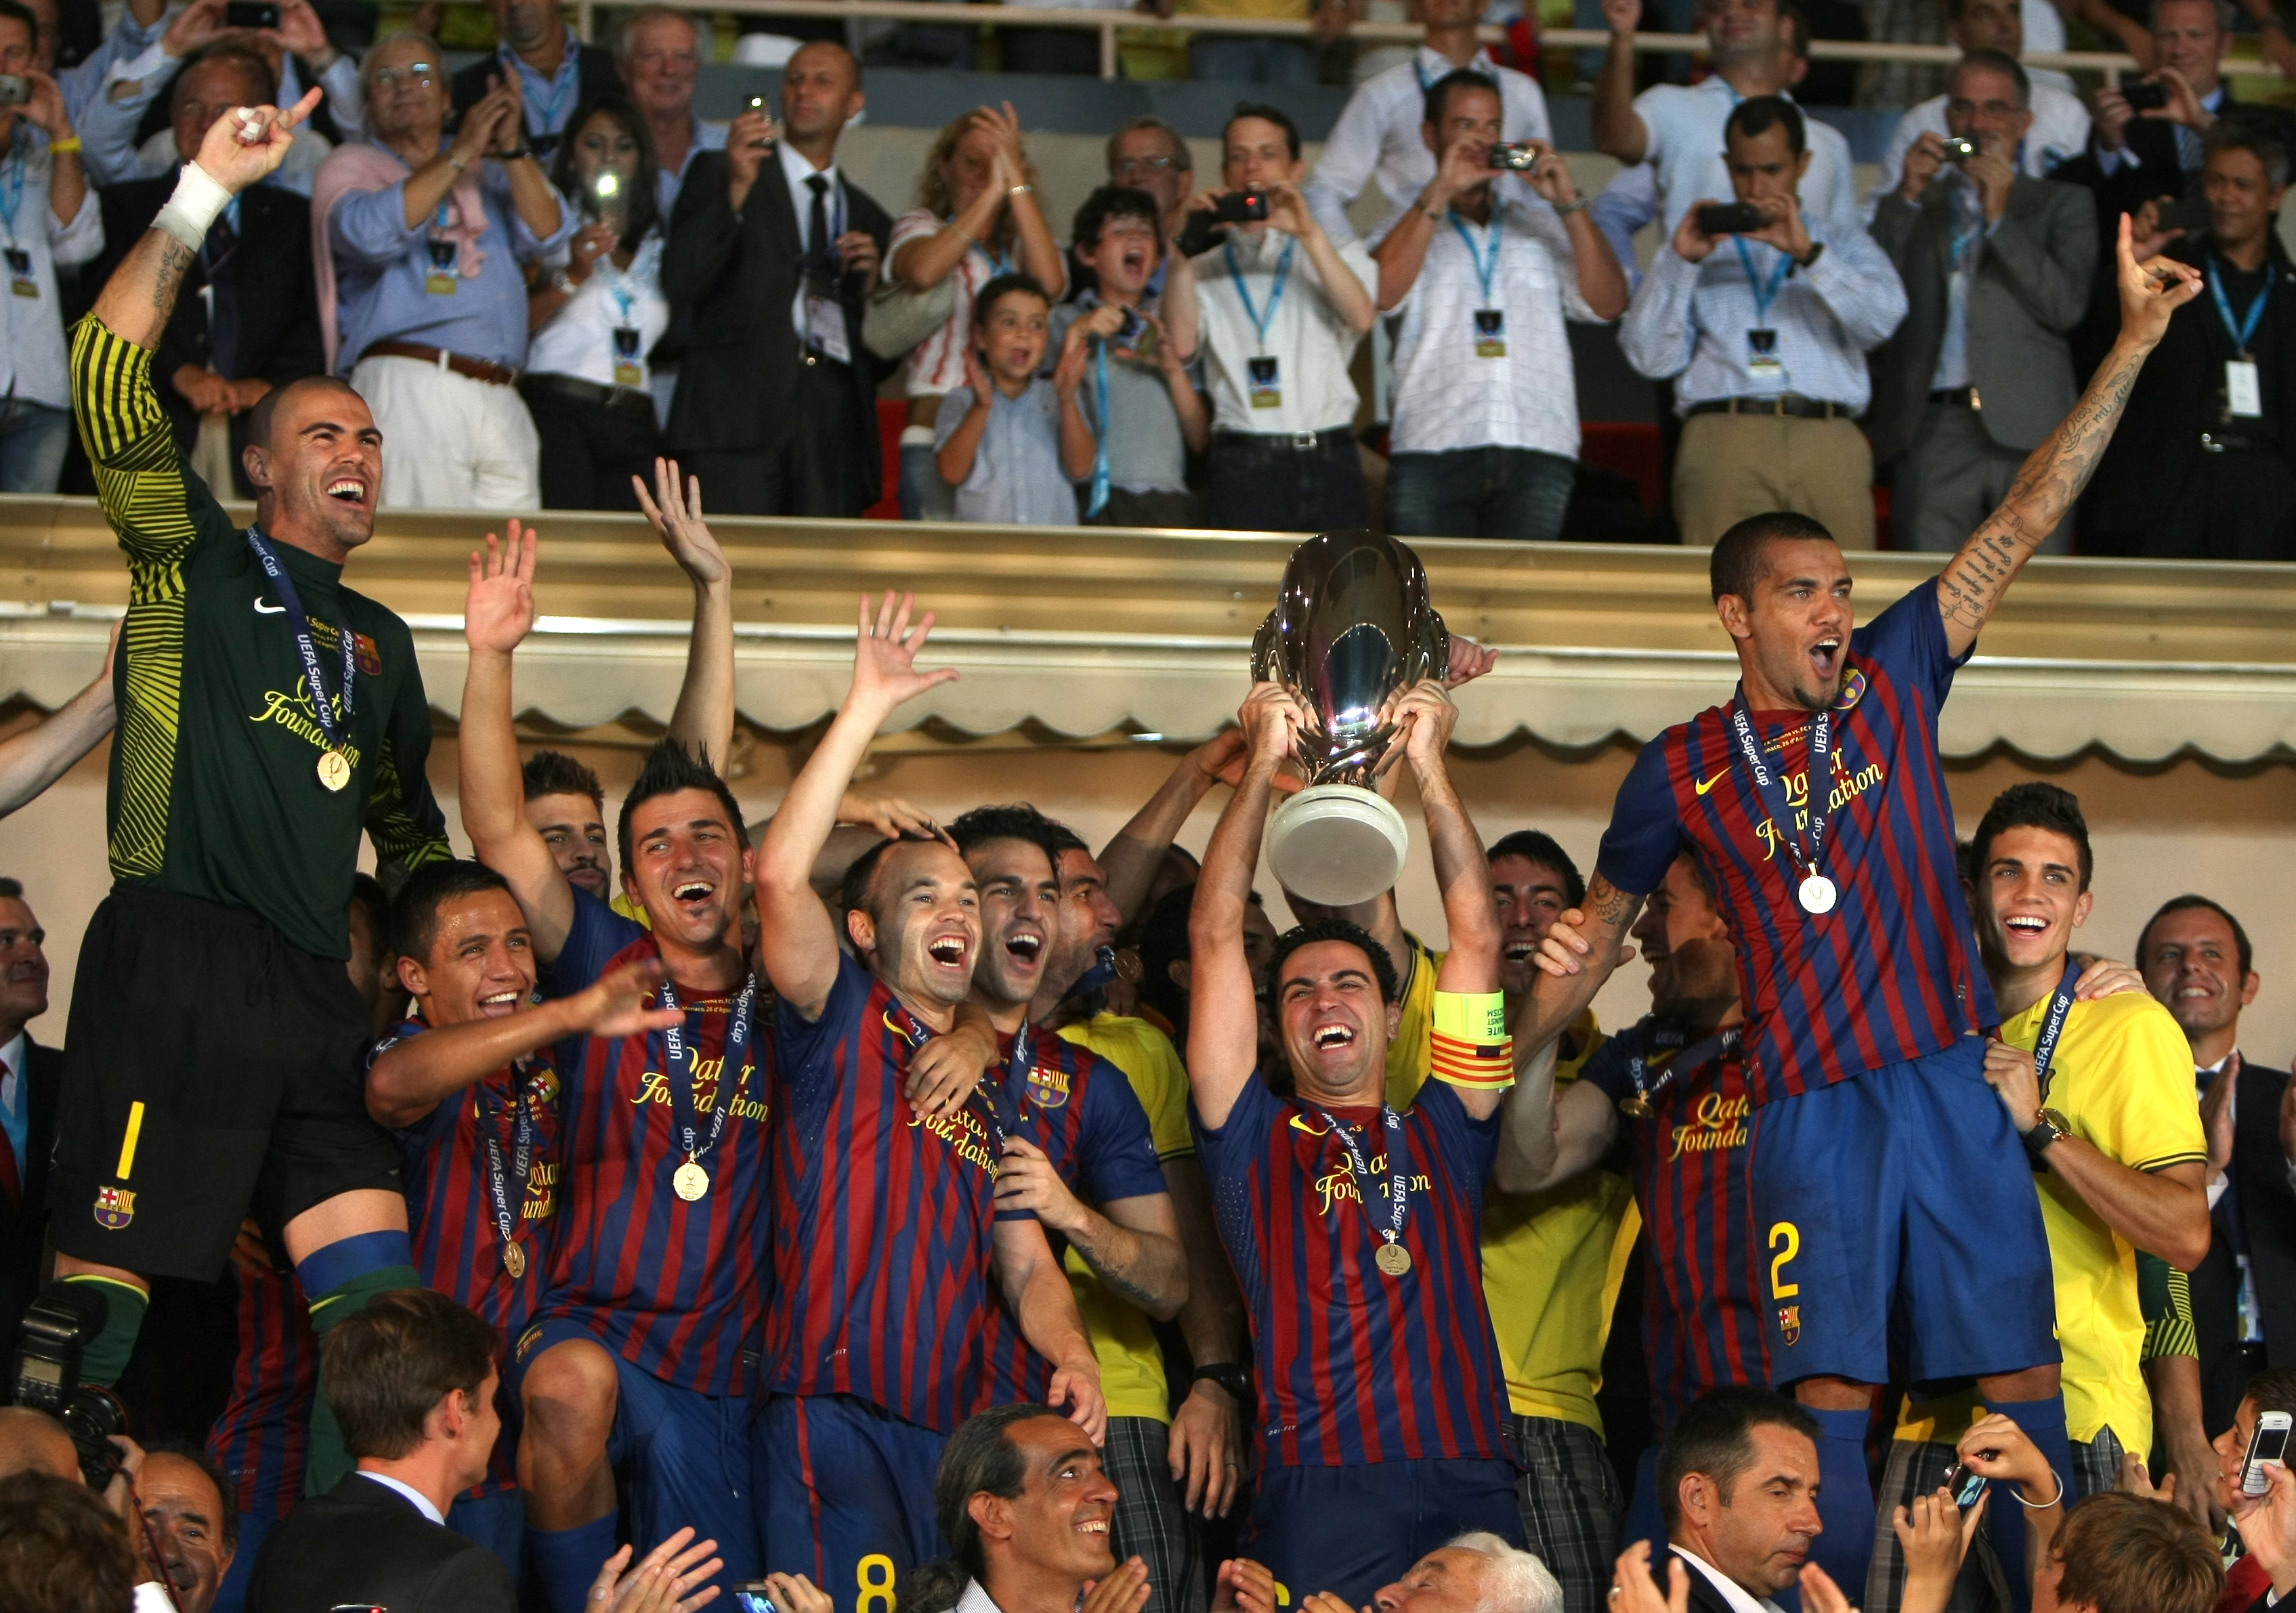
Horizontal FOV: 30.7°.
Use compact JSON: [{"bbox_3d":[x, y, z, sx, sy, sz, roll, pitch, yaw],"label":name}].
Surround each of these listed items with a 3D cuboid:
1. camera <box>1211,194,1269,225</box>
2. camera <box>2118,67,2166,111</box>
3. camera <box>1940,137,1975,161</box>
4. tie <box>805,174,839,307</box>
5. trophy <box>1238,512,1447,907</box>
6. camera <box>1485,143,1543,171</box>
[{"bbox_3d":[0.300,-1.918,13.577,0.196,0.099,0.103,0,0,0],"label":"camera"},{"bbox_3d":[3.529,-2.497,14.852,0.154,0.143,0.170,0,0,13],"label":"camera"},{"bbox_3d":[2.797,-2.247,14.418,0.092,0.095,0.141,0,0,22],"label":"camera"},{"bbox_3d":[-1.072,-1.858,13.819,0.105,0.411,0.131,0,1,-10],"label":"tie"},{"bbox_3d":[0.546,-0.275,11.848,0.614,1.536,0.671,8,-42,2],"label":"trophy"},{"bbox_3d":[1.201,-2.092,13.661,0.166,0.098,0.096,0,0,15],"label":"camera"}]
